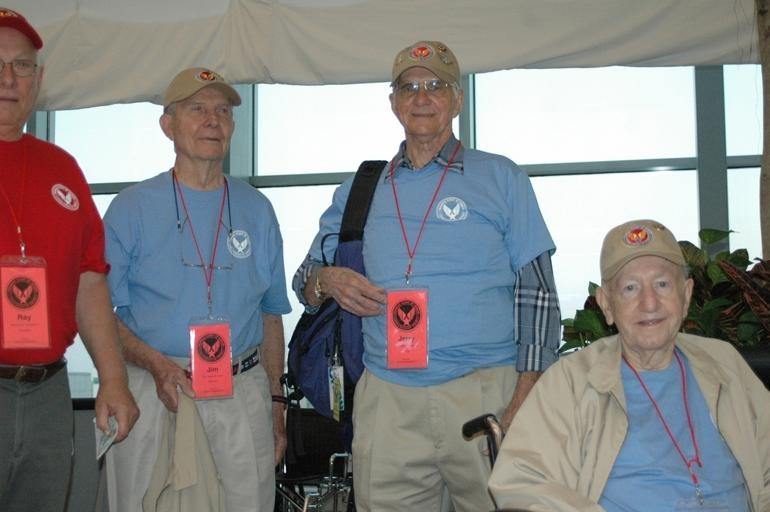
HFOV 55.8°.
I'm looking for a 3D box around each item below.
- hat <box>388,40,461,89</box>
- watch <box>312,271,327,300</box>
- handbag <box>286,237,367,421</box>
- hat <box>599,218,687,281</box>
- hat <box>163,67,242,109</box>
[{"bbox_3d":[0.172,-0.968,3.714,0.336,0.238,0.430,-1,0,-16],"label":"hat"},{"bbox_3d":[-0.347,0.160,3.755,0.044,0.121,0.088,-8,11,-9],"label":"watch"},{"bbox_3d":[-0.369,0.500,3.992,0.384,0.640,0.409,3,-4,-27],"label":"handbag"},{"bbox_3d":[1.165,-0.058,3.349,0.370,0.193,0.395,-9,10,25],"label":"hat"},{"bbox_3d":[-0.948,-0.879,3.841,0.316,0.205,0.396,0,-5,-24],"label":"hat"}]
